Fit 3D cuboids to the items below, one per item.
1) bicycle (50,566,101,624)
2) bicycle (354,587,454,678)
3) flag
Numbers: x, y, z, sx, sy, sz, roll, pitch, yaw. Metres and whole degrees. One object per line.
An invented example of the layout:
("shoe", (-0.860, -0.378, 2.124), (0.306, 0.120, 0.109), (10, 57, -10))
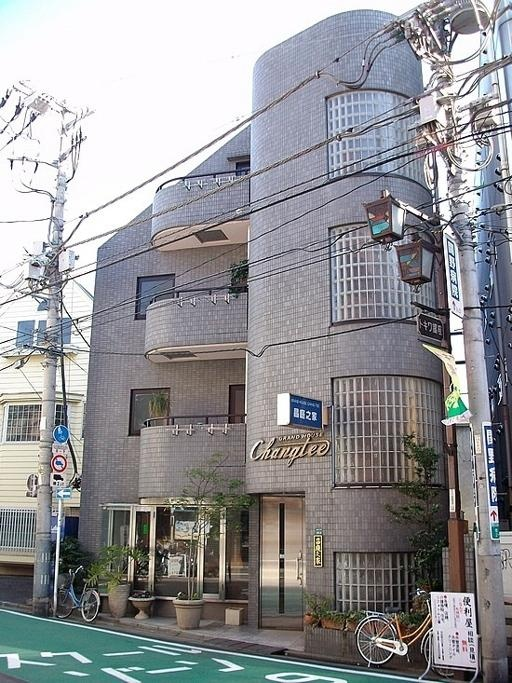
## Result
("bicycle", (-4.254, 6.392, 16.375), (0.797, 1.312, 2.130), (-9, -15, -41))
("bicycle", (2.244, 4.787, 10.579), (1.724, 1.115, 0.889), (-19, -33, 37))
("flag", (2.701, 0.574, 9.209), (0.572, 1.165, 0.024), (-13, -10, 42))
